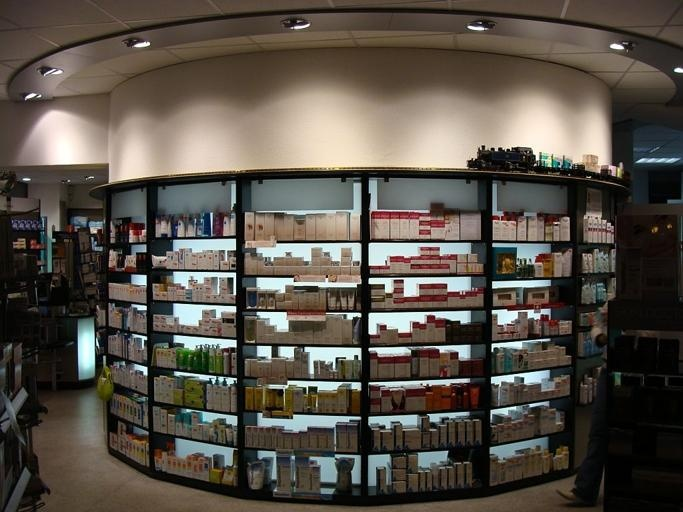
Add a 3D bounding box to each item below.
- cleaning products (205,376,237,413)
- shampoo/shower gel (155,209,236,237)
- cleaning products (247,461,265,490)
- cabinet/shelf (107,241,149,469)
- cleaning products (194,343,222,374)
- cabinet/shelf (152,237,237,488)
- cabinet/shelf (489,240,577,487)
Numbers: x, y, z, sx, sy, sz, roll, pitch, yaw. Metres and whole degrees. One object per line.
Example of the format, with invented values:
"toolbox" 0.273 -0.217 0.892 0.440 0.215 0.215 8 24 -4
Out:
"cleaning products" -1.341 1.613 7.422 0.474 0.334 0.190 2 2 37
"shampoo/shower gel" -1.702 -0.361 7.550 1.098 0.310 0.209 2 2 30
"cleaning products" -0.944 2.453 7.228 0.193 0.288 0.117 0 2 -8
"cabinet/shelf" -2.630 1.240 8.140 0.375 2.601 1.260 0 2 -33
"cleaning products" -1.518 1.198 7.479 0.396 0.302 0.107 2 2 30
"cabinet/shelf" -1.635 1.243 7.645 1.224 2.646 0.500 1 2 26
"cabinet/shelf" 2.176 1.050 7.527 0.956 2.233 0.250 -1 1 2
